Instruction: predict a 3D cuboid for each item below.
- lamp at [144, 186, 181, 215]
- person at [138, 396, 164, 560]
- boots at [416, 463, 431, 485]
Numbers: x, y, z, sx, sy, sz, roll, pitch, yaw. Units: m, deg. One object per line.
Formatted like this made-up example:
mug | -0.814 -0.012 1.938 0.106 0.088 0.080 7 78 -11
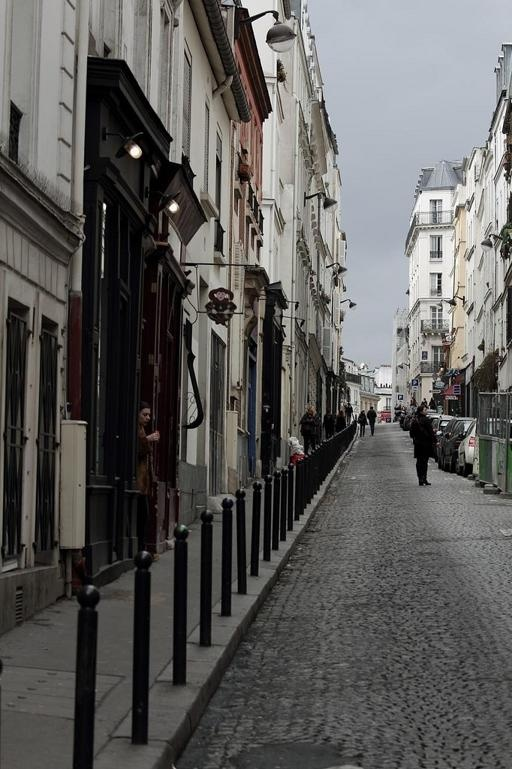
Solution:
lamp | -1.039 -2.040 12.052 0.295 0.380 0.626 -3 -7 5
person | -1.158 0.981 11.201 0.223 1.596 1.141 -1 -6 -7
boots | 3.724 1.993 23.948 0.266 0.566 0.321 -1 -5 -9
